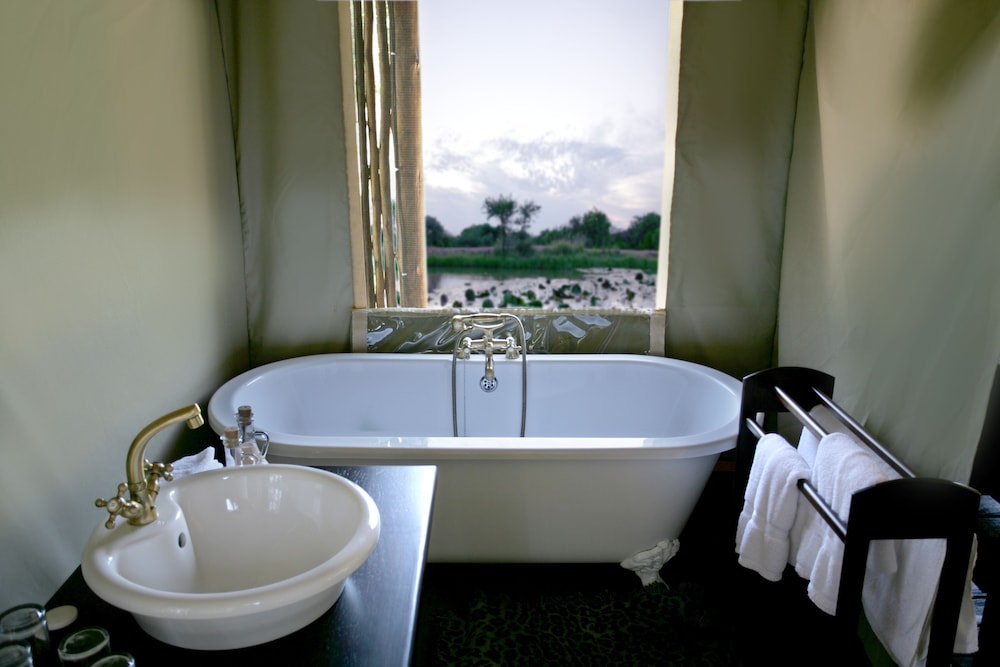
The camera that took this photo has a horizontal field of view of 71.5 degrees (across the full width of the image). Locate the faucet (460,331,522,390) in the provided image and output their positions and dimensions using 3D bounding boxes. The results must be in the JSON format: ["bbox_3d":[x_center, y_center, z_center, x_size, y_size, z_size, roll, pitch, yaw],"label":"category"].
[{"bbox_3d":[-0.057,0.096,3.421,0.246,0.143,0.335,2,28,1],"label":"faucet"}]

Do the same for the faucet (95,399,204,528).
[{"bbox_3d":[-0.957,0.347,2.012,0.236,0.272,0.380,6,3,7],"label":"faucet"}]

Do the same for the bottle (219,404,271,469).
[{"bbox_3d":[-0.798,0.317,2.169,0.123,0.177,0.279,-6,15,-22],"label":"bottle"}]

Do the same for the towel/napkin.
[{"bbox_3d":[1.226,0.681,2.342,0.422,0.525,0.824,-3,21,-4],"label":"towel/napkin"}]

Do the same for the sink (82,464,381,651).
[{"bbox_3d":[-0.708,0.592,1.876,0.739,0.326,0.454,-4,14,-16],"label":"sink"}]
